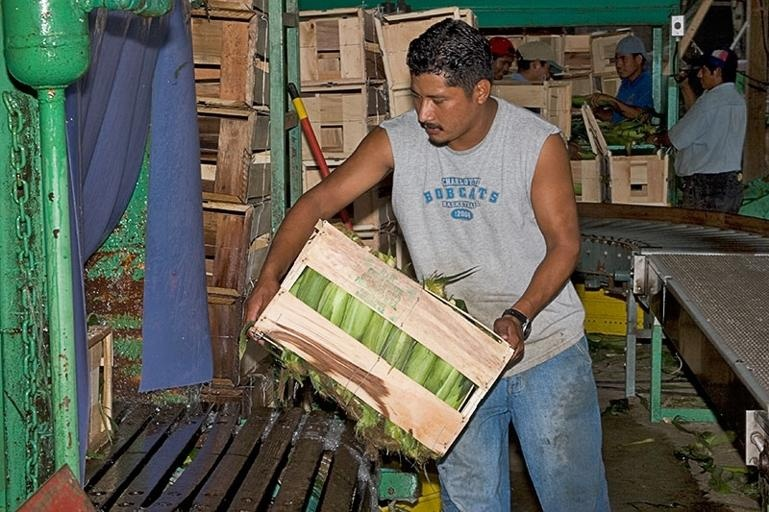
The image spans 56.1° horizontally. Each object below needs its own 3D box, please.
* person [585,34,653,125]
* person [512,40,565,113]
[{"bbox_3d":[3.542,-2.535,10.674,0.672,1.503,0.943,7,17,10],"label":"person"},{"bbox_3d":[2.208,-2.647,10.462,0.763,0.934,0.576,6,5,-7],"label":"person"}]
